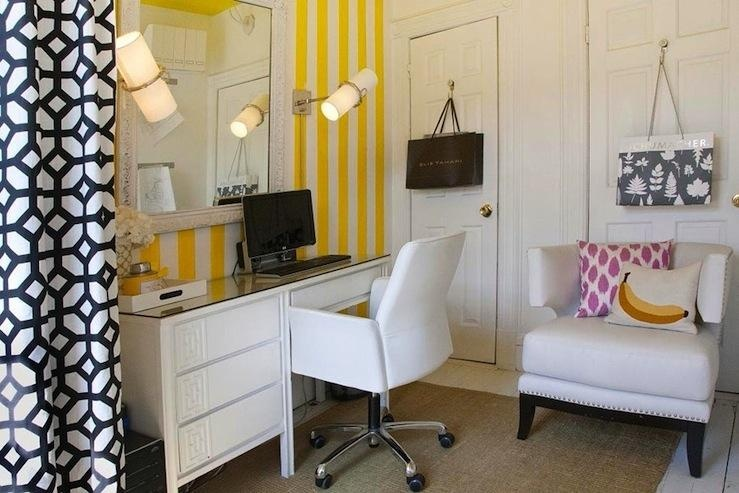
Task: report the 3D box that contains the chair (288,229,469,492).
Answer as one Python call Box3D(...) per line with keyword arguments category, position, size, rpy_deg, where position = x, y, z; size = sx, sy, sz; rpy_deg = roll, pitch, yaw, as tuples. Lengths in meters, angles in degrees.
Box3D(category="chair", position=(0.119, 0.487, 3.643), size=(1.080, 1.647, 1.106), rpy_deg=(3, 5, 26))

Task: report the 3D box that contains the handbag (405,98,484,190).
Box3D(category="handbag", position=(0.568, -0.720, 4.266), size=(0.628, 0.817, 0.165), rpy_deg=(-2, -4, 36))

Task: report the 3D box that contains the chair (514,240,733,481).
Box3D(category="chair", position=(1.413, 0.601, 3.482), size=(1.113, 1.274, 1.119), rpy_deg=(-2, -4, 31))

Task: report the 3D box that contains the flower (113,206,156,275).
Box3D(category="flower", position=(-1.069, -0.027, 2.687), size=(0.118, 0.307, 0.169), rpy_deg=(3, 15, 22))

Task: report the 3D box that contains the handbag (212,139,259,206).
Box3D(category="handbag", position=(-0.737, -0.405, 3.257), size=(0.149, 0.502, 0.248), rpy_deg=(20, 22, 31))

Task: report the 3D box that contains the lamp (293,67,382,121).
Box3D(category="lamp", position=(-0.222, -0.907, 3.601), size=(0.376, 0.282, 0.477), rpy_deg=(-15, 18, -40))

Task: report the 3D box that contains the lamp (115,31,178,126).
Box3D(category="lamp", position=(-0.996, -0.754, 2.675), size=(0.224, 0.373, 0.144), rpy_deg=(-8, 15, -19))

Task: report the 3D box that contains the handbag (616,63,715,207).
Box3D(category="handbag", position=(1.779, -0.467, 3.610), size=(0.507, 0.419, 0.204), rpy_deg=(4, 15, 24))

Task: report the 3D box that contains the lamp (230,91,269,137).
Box3D(category="lamp", position=(-0.669, -0.738, 3.307), size=(0.088, 0.088, 0.280), rpy_deg=(23, 40, 3))
